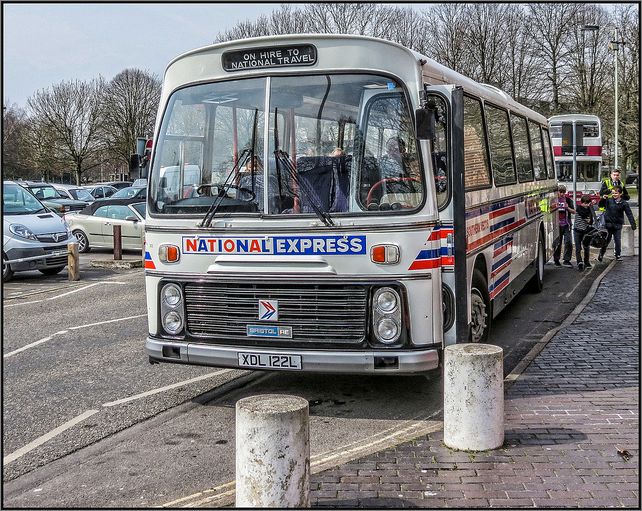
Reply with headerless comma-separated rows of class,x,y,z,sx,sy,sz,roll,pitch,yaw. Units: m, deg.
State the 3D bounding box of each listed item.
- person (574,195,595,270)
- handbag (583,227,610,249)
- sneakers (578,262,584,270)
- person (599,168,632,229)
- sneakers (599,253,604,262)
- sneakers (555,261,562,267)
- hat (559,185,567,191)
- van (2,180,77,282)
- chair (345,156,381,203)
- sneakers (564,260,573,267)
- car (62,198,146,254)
person,7.554,-0.694,16.215,0.508,2.058,1.396,0,5,26
handbag,7.899,-0.509,16.424,0.634,0.297,0.698,-7,-22,10
sneakers,7.333,0.269,15.944,0.164,0.206,0.579,0,5,24
person,10.240,-1.824,19.492,0.881,2.328,0.672,4,-11,3
sneakers,8.364,0.070,16.907,0.145,0.256,0.322,0,5,21
sneakers,6.973,0.254,16.654,0.131,0.180,0.421,-1,-2,10
hat,7.199,-2.005,16.889,0.218,0.190,0.236,-2,4,0
van,-8.553,-0.682,16.179,2.960,1.796,1.646,1,4,41
chair,0.445,-0.723,5.755,0.311,0.473,0.156,-1,-10,4
sneakers,7.214,0.251,16.495,0.117,0.159,0.342,0,-1,4
car,-7.326,-0.960,19.256,2.982,1.467,1.747,-2,5,10
